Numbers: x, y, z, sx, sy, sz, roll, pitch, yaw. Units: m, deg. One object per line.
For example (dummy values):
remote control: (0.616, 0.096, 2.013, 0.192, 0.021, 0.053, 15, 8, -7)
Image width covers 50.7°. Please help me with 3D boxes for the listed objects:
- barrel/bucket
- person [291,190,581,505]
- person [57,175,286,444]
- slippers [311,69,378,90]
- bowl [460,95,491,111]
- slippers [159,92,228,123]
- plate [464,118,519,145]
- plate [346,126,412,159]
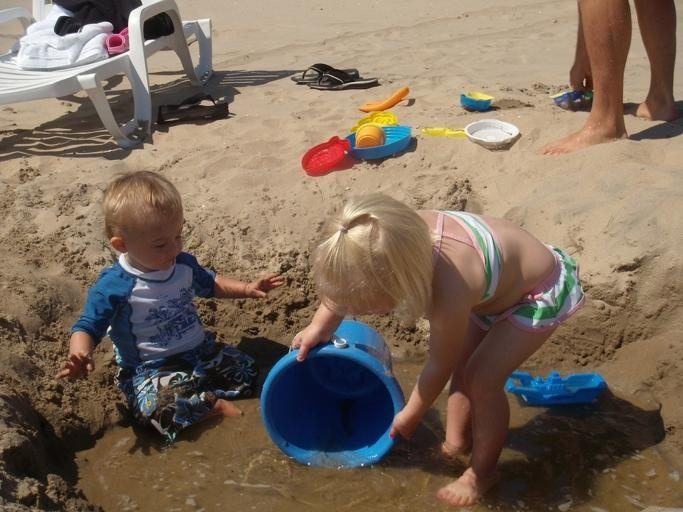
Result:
barrel/bucket: (-0.008, 0.778, 4.548, 0.887, 0.836, 0.634, 15, 16, 4)
person: (0.660, 0.395, 4.084, 1.294, 1.651, 0.858, -30, 36, -34)
person: (-1.085, 0.319, 4.337, 0.756, 1.480, 1.078, 8, 33, 27)
slippers: (0.025, -1.910, 7.882, 0.486, 0.126, 0.342, 0, 21, 10)
bowl: (1.267, -1.463, 6.792, 0.297, 0.141, 0.262, -1, 29, 12)
slippers: (-1.496, -1.484, 7.333, 0.518, 0.137, 0.505, 0, 15, 18)
plate: (1.276, -1.062, 6.128, 0.434, 0.091, 0.471, -26, 33, -31)
plate: (0.415, -0.978, 6.214, 0.396, 0.112, 0.401, 6, 39, 32)
